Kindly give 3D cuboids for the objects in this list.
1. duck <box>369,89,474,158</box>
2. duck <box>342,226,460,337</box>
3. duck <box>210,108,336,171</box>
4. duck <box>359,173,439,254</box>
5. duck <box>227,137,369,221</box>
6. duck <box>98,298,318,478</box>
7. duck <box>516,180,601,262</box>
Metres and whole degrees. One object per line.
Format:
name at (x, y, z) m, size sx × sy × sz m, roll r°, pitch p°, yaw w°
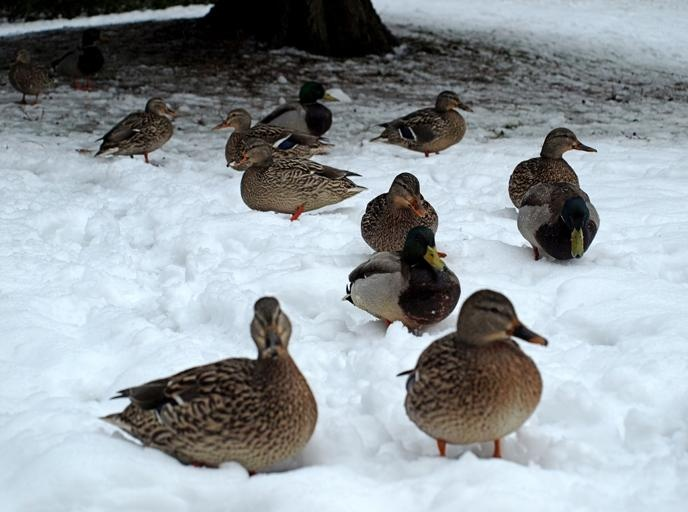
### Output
duck at (1.113, -1.903, 9.314) m, size 1.471 × 0.881 × 0.773 m, roll 9°, pitch 28°, yaw 26°
duck at (0.474, 0.127, 5.486) m, size 0.755 × 0.863 × 1.223 m, roll -14°, pitch 22°, yaw -30°
duck at (-0.976, -1.544, 8.792) m, size 1.395 × 0.769 × 0.624 m, roll -5°, pitch 14°, yaw -14°
duck at (0.474, -0.376, 6.080) m, size 0.601 × 0.614 × 0.882 m, roll -6°, pitch 31°, yaw -6°
duck at (-0.493, -0.857, 7.774) m, size 1.645 × 0.826 × 0.760 m, roll 2°, pitch -1°, yaw 3°
duck at (-0.861, 0.810, 4.317) m, size 1.538 × 1.069 × 0.854 m, roll 0°, pitch 4°, yaw 29°
duck at (1.835, -0.372, 5.930) m, size 0.580 × 0.573 × 0.816 m, roll -5°, pitch 41°, yaw -5°
